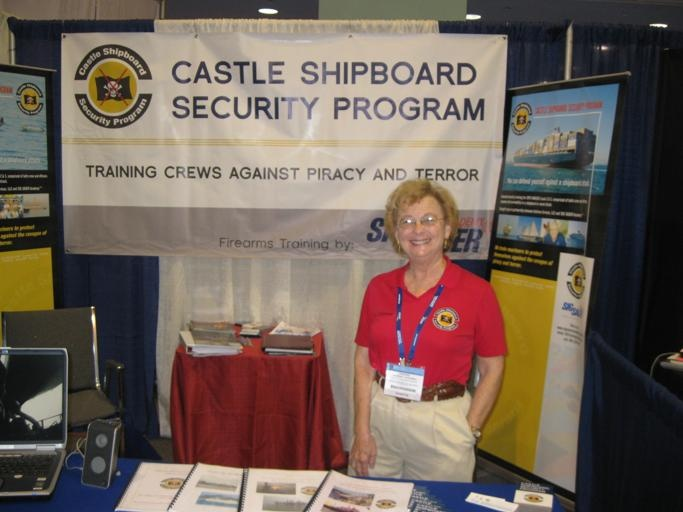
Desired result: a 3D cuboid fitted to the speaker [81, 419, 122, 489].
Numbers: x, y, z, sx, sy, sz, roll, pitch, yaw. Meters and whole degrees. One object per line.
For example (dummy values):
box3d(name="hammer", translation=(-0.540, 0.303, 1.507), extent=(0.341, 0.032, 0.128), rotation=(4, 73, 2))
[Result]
box3d(name="speaker", translation=(-1.049, 0.847, 2.929), extent=(0.128, 0.275, 0.150), rotation=(8, 4, -16))

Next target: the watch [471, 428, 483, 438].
box3d(name="watch", translation=(0.631, 0.832, 3.135), extent=(0.032, 0.025, 0.044), rotation=(2, -10, -1))

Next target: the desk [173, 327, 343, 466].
box3d(name="desk", translation=(-0.592, 0.851, 4.122), extent=(0.725, 0.486, 0.757), rotation=(1, 1, -1))
